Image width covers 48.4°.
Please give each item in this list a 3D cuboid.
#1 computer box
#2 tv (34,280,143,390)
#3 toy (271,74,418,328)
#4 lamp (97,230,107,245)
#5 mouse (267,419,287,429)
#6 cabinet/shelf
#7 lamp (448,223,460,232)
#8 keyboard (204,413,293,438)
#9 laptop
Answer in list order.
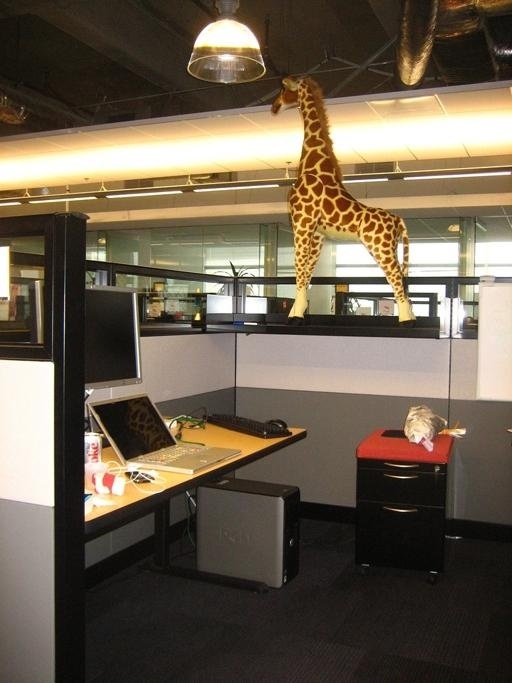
[{"bbox_3d":[-0.005,0.933,3.009,0.462,0.472,0.473,1,1,30],"label":"computer box"},{"bbox_3d":[-0.524,-0.020,1.796,0.023,0.523,0.371,-5,-10,23],"label":"tv"},{"bbox_3d":[0.355,-0.640,2.426,0.601,0.881,0.321,1,0,7],"label":"toy"},{"bbox_3d":[-2.964,-1.992,10.945,0.227,0.224,0.057,2,2,21],"label":"lamp"},{"bbox_3d":[0.104,0.398,2.751,0.071,0.022,0.051,13,4,1],"label":"mouse"},{"bbox_3d":[0.709,0.825,3.102,0.518,0.783,0.605,0,-1,16],"label":"cabinet/shelf"},{"bbox_3d":[2.880,-1.661,8.330,0.155,0.130,0.042,1,0,24],"label":"lamp"},{"bbox_3d":[-0.055,0.403,2.800,0.400,0.071,0.134,3,5,44],"label":"keyboard"},{"bbox_3d":[-0.366,0.358,2.158,0.311,0.195,0.326,-4,2,21],"label":"laptop"}]
